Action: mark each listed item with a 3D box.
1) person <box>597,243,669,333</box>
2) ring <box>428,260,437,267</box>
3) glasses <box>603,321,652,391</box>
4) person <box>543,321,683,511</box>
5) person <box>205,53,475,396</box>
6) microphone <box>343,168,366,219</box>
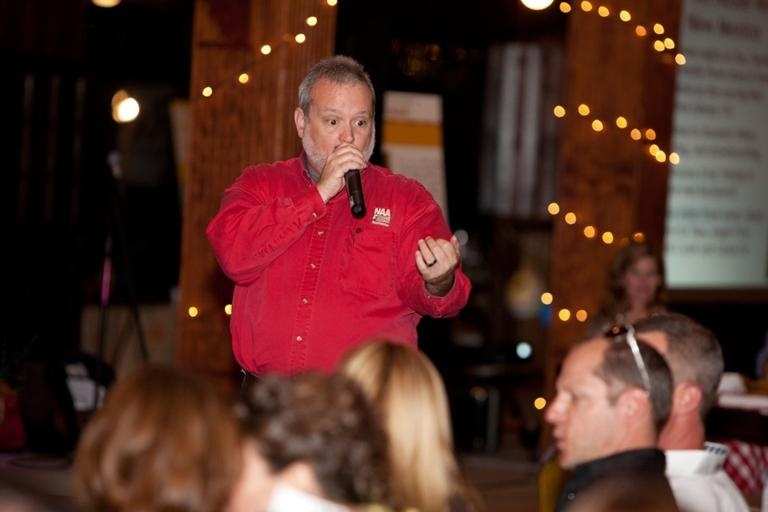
[{"bbox_3d":[1.667,0.204,4.968,0.526,0.783,0.393,1,-10,1],"label":"person"},{"bbox_3d":[0.171,0.025,2.654,0.032,0.023,0.033,1,1,0],"label":"ring"},{"bbox_3d":[0.833,0.348,2.530,0.116,0.203,0.051,-17,-11,-10],"label":"glasses"},{"bbox_3d":[0.823,0.632,2.840,0.534,0.932,0.498,2,-10,18],"label":"person"},{"bbox_3d":[-0.187,-0.152,2.960,0.976,1.312,0.408,2,2,13],"label":"person"},{"bbox_3d":[-0.109,-0.239,2.810,0.057,0.058,0.213,-2,38,-9],"label":"microphone"}]
